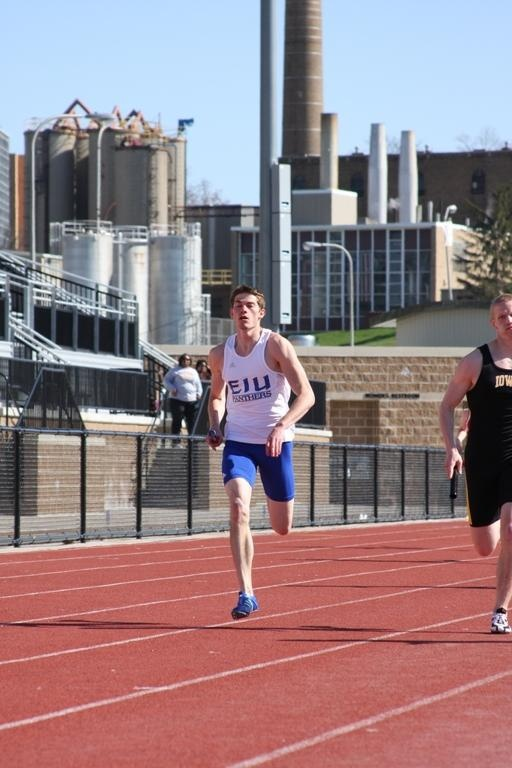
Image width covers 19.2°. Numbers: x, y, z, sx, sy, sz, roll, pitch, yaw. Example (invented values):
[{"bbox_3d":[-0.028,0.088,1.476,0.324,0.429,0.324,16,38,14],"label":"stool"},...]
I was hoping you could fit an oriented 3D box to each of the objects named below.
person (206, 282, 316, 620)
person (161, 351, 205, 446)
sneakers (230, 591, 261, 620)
[{"bbox_3d":[0.024,0.389,7.986,0.528,1.810,0.885,0,2,-7],"label":"person"},{"bbox_3d":[-1.087,0.167,22.494,0.575,1.251,2.040,0,2,-2],"label":"person"},{"bbox_3d":[-0.063,1.133,7.670,0.065,0.117,0.214,-3,-9,10],"label":"sneakers"}]
